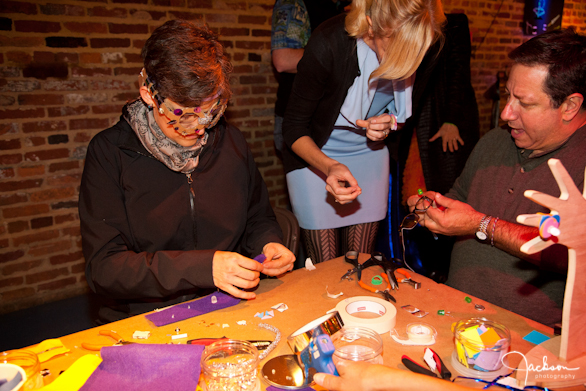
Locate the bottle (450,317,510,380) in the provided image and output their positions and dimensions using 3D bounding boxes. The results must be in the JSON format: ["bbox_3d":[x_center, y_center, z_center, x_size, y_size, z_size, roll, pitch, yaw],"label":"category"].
[{"bbox_3d":[0.690,0.564,1.613,0.197,0.136,0.209,-2,22,1],"label":"bottle"}]

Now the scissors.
[{"bbox_3d":[0.381,0.349,2.088,0.278,0.177,0.314,12,21,28],"label":"scissors"}]

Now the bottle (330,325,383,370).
[{"bbox_3d":[0.245,0.557,1.623,0.157,0.116,0.172,5,10,-1],"label":"bottle"}]

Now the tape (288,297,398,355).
[{"bbox_3d":[0.179,0.468,1.799,0.349,0.178,0.393,-2,9,-11],"label":"tape"}]

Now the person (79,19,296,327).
[{"bbox_3d":[-0.593,0.092,2.293,0.984,1.705,0.843,-7,38,-17],"label":"person"}]
